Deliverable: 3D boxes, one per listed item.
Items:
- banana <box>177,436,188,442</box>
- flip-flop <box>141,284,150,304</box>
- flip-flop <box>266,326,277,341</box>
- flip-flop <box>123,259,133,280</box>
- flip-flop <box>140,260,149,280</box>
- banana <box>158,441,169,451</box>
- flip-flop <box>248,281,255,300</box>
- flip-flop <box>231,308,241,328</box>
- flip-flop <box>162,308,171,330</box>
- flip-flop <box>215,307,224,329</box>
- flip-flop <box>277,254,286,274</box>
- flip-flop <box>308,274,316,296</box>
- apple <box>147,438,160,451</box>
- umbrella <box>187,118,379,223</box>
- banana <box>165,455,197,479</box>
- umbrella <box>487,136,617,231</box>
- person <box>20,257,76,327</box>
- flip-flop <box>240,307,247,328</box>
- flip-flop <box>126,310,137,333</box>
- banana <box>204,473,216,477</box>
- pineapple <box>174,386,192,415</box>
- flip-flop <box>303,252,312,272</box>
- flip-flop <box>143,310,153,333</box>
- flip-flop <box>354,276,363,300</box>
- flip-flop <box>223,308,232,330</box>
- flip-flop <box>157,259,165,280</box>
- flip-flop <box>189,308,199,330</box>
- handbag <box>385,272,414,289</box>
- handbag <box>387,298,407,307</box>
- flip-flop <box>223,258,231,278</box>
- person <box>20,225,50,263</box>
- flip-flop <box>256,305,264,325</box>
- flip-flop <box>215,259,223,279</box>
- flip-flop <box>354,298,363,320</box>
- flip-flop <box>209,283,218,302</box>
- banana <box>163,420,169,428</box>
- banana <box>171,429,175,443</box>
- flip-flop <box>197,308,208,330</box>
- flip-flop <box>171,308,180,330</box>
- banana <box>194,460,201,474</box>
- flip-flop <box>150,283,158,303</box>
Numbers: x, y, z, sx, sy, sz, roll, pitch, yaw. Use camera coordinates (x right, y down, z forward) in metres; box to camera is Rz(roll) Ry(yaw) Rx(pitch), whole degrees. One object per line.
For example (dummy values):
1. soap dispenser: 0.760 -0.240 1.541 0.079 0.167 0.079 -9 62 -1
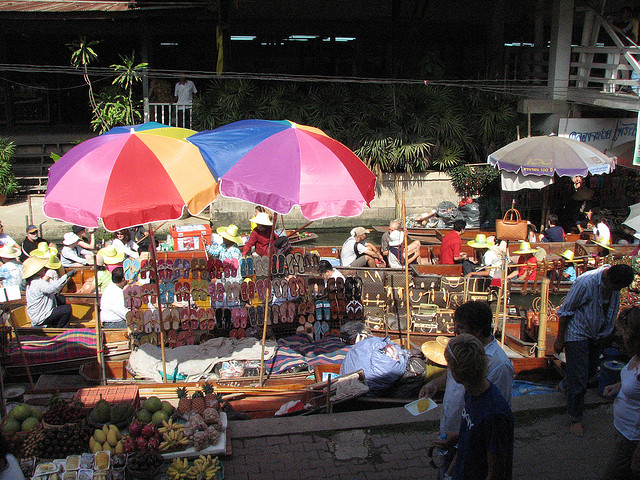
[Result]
1. banana: -1.663 2.423 7.069 0.026 0.036 0.101 20 18 21
2. flip-flop: -2.733 0.839 9.041 0.123 0.317 0.100 -5 6 -27
3. flip-flop: -0.843 1.566 9.774 0.123 0.220 0.070 -6 -7 -31
4. flip-flop: -3.187 0.482 9.596 0.182 0.326 0.063 0 5 19
5. flip-flop: -2.830 0.452 9.342 0.127 0.327 0.081 4 8 -2
6. banana: -1.886 2.468 7.054 0.177 0.070 0.046 -31 45 -29
7. flip-flop: -1.110 0.795 9.321 0.093 0.279 0.100 0 -3 -12
8. flip-flop: -1.367 1.243 9.389 0.149 0.311 0.050 -4 5 -23
9. flip-flop: -2.436 1.247 9.178 0.117 0.324 0.076 0 17 -6
10. flip-flop: -1.634 1.247 9.372 0.140 0.348 0.093 -3 5 -12
11. flip-flop: -0.645 0.392 9.667 0.136 0.316 0.063 -3 5 -6
12. flip-flop: -0.144 0.768 9.754 0.134 0.298 0.140 -3 5 -3
13. apple: -2.004 2.450 6.955 0.110 0.149 0.119 0 -7 -4
14. umbrella: -0.697 -1.284 10.066 2.442 0.900 2.607 9 25 -18
15. banana: -1.641 2.676 6.790 0.218 0.084 0.231 0 33 -15
16. umbrella: 5.782 -1.264 15.148 2.588 2.628 2.897 -3 26 4
17. person: -4.973 1.094 10.709 0.863 1.674 0.684 -10 23 -33
18. flip-flop: -1.255 1.251 9.396 0.121 0.270 0.081 1 10 -2
19. flip-flop: -2.945 1.254 9.011 0.147 0.329 0.090 -1 15 -16
20. banana: -1.290 2.741 6.786 0.130 0.042 0.032 1 8 -10
21. pineapple: -1.784 2.086 7.556 0.177 0.248 0.338 -4 6 -21
22. flip-flop: -0.216 0.360 9.865 0.101 0.327 0.078 -1 -2 -6
23. flip-flop: -2.703 1.265 9.091 0.151 0.372 0.141 -3 5 -12
24. flip-flop: 0.637 0.811 9.834 0.111 0.392 0.143 2 -3 2
25. flip-flop: -1.516 1.269 9.400 0.106 0.343 0.113 1 1 -6
26. flip-flop: -2.548 0.453 9.281 0.101 0.324 0.087 2 3 -11
27. flip-flop: -2.026 1.241 9.293 0.147 0.343 0.106 -4 5 -15
28. handbag: 1.394 0.697 10.293 0.505 0.287 0.265 -2 5 6
29. handbag: 1.342 1.093 10.218 0.188 0.096 0.187 3 2 -39
30. flip-flop: -1.519 0.432 9.394 0.093 0.267 0.071 -2 6 -8
31. person: -6.208 0.053 12.454 0.600 0.387 0.870 -6 11 -29
32. flip-flop: -0.985 1.208 9.405 0.124 0.304 0.070 2 4 -5
33. flip-flop: -1.638 0.452 9.269 0.101 0.309 0.087 0 7 -6
34. flip-flop: 0.643 1.159 9.852 0.097 0.340 0.131 3 1 2
35. flip-flop: -1.714 0.832 9.323 0.104 0.304 0.071 -3 9 -1
36. banana: -1.915 2.270 7.184 0.017 0.128 0.033 6 41 41
37. banana: -1.802 2.374 7.085 0.025 0.132 0.031 2 -18 -5
38. flip-flop: -1.894 1.249 9.315 0.155 0.356 0.104 -4 5 -16
39. flip-flop: -2.306 1.246 9.208 0.115 0.335 0.083 0 17 -9
40. banana: -1.454 2.662 6.843 0.040 0.163 0.041 -7 -32 -33
41. flip-flop: -2.592 0.832 8.995 0.089 0.306 0.221 -4 6 -22
